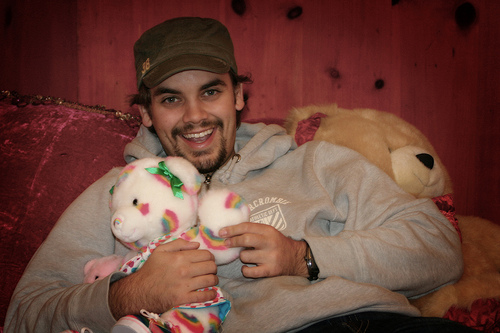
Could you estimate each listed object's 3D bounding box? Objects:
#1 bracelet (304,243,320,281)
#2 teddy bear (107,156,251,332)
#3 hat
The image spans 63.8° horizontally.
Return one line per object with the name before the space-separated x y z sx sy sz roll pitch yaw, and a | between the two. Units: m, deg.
bracelet | 0.270 0.420 1.733 0.072 0.164 0.042 5 7 18
teddy bear | -0.301 0.344 1.625 0.655 0.681 0.411 -10 1 16
hat | -0.341 -0.604 2.140 0.376 0.233 0.468 -10 -5 1
